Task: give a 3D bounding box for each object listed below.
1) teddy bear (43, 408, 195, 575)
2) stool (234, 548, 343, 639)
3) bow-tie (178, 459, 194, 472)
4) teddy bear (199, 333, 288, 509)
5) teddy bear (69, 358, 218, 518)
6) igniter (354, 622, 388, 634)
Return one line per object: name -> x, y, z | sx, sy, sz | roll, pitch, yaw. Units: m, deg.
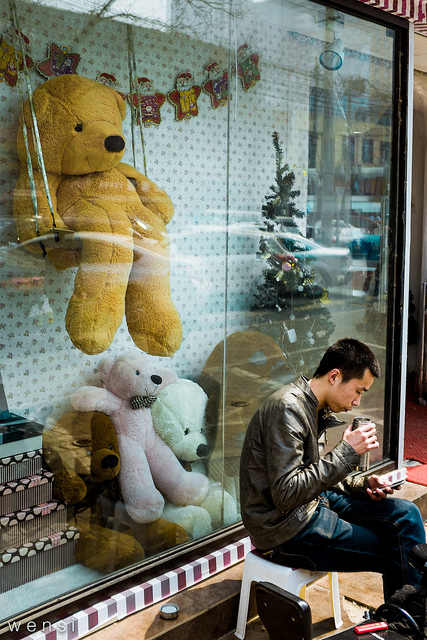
teddy bear -> -0.362, 0.606, 1.923 | 0.517, 0.542, 0.478 | 8, -7, -26
stool -> 0.229, 1.014, 1.833 | 0.324, 0.452, 0.191 | -1, 17, 4
bow-tie -> -0.117, 0.627, 2.244 | 0.059, 0.054, 0.050 | 2, 16, 20
teddy bear -> 0.049, 0.443, 2.478 | 0.164, 0.712, 0.570 | 8, 1, 43
teddy bear -> -0.307, 0.445, 2.075 | 0.626, 0.602, 0.541 | 14, -5, -25
igniter -> 0.334, 0.641, 1.087 | 0.048, 0.007, 0.026 | -2, -1, -2
